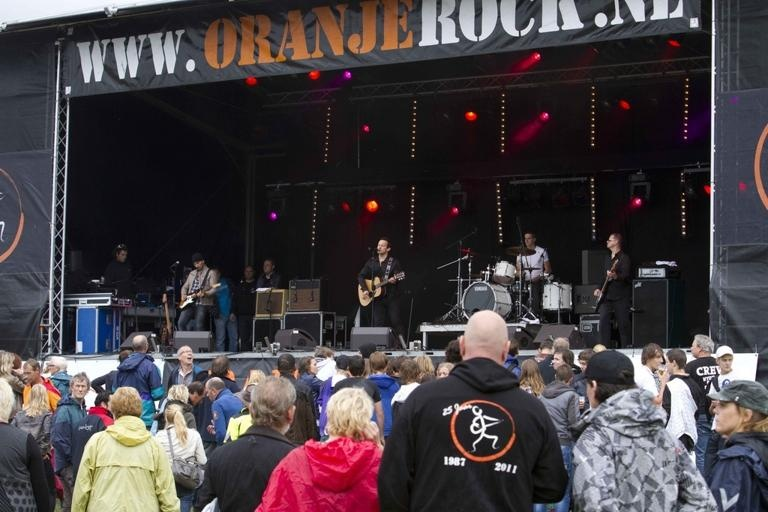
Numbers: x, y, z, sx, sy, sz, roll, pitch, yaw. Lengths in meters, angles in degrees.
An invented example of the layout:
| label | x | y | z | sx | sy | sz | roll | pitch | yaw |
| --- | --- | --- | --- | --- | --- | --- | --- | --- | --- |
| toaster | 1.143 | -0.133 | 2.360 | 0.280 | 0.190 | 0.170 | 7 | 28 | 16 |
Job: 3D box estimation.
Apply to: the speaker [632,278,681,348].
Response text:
| label | x | y | z | sx | sy | sz | roll | pitch | yaw |
| --- | --- | --- | --- | --- | --- | --- | --- | --- | --- |
| speaker | 4.690 | 0.931 | 21.074 | 0.585 | 1.460 | 1.126 | 0 | -2 | 7 |

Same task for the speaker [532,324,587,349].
| label | x | y | z | sx | sy | sz | roll | pitch | yaw |
| --- | --- | --- | --- | --- | --- | --- | --- | --- | --- |
| speaker | 3.033 | 1.328 | 20.663 | 0.599 | 0.339 | 0.584 | 13 | -14 | -43 |

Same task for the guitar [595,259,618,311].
| label | x | y | z | sx | sy | sz | roll | pitch | yaw |
| --- | --- | --- | --- | --- | --- | --- | --- | --- | --- |
| guitar | 4.110 | 0.557 | 22.342 | 0.050 | 1.045 | 0.237 | 17 | 18 | -3 |

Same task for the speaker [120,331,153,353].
| label | x | y | z | sx | sy | sz | roll | pitch | yaw |
| --- | --- | --- | --- | --- | --- | --- | --- | --- | --- |
| speaker | -4.123 | 1.441 | 20.277 | 0.347 | 0.297 | 0.356 | -6 | -18 | 22 |

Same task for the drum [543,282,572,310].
| label | x | y | z | sx | sy | sz | roll | pitch | yaw |
| --- | --- | --- | --- | --- | --- | --- | --- | --- | --- |
| drum | 3.350 | 0.816 | 23.519 | 0.515 | 0.483 | 0.525 | 0 | -9 | 11 |

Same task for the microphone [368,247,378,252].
| label | x | y | z | sx | sy | sz | roll | pitch | yaw |
| --- | --- | --- | --- | --- | --- | --- | --- | --- | --- |
| microphone | -0.221 | -0.151 | 26.608 | 0.134 | 0.131 | 0.033 | 1 | 17 | 17 |

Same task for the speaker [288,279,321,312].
| label | x | y | z | sx | sy | sz | roll | pitch | yaw |
| --- | --- | --- | --- | --- | --- | --- | --- | --- | --- |
| speaker | -1.569 | 0.830 | 24.529 | 0.746 | 0.795 | 0.584 | -1 | -5 | 16 |

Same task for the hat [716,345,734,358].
| label | x | y | z | sx | sy | sz | roll | pitch | yaw |
| --- | --- | --- | --- | --- | --- | --- | --- | --- | --- |
| hat | 4.866 | 1.369 | 17.382 | 0.194 | 0.152 | 0.270 | 2 | -5 | 5 |

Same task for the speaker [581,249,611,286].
| label | x | y | z | sx | sy | sz | roll | pitch | yaw |
| --- | --- | --- | --- | --- | --- | --- | --- | --- | --- |
| speaker | 4.298 | 0.234 | 24.505 | 0.664 | 0.674 | 0.219 | 3 | -5 | -14 |

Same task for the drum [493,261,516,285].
| label | x | y | z | sx | sy | sz | roll | pitch | yaw |
| --- | --- | --- | --- | --- | --- | --- | --- | --- | --- |
| drum | 2.323 | 0.319 | 23.409 | 0.419 | 0.416 | 0.438 | -7 | -42 | 19 |

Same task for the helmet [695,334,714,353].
| label | x | y | z | sx | sy | sz | roll | pitch | yaw |
| --- | --- | --- | --- | --- | --- | --- | --- | --- | --- |
| helmet | 4.617 | 1.272 | 17.581 | 0.288 | 0.272 | 0.240 | 0 | -8 | 0 |

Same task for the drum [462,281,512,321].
| label | x | y | z | sx | sy | sz | roll | pitch | yaw |
| --- | --- | --- | --- | --- | --- | --- | --- | --- | --- |
| drum | 1.977 | 0.887 | 22.948 | 1.254 | 0.867 | 0.633 | 4 | 14 | 18 |

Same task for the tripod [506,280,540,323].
| label | x | y | z | sx | sy | sz | roll | pitch | yaw |
| --- | --- | --- | --- | --- | --- | --- | --- | --- | --- |
| tripod | 2.763 | 0.877 | 23.526 | 0.687 | 0.784 | 0.780 | 2 | -6 | -6 |

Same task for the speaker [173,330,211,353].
| label | x | y | z | sx | sy | sz | roll | pitch | yaw |
| --- | --- | --- | --- | --- | --- | --- | --- | --- | --- |
| speaker | -3.442 | 1.513 | 22.027 | 0.631 | 0.446 | 0.378 | 1 | 7 | 12 |
